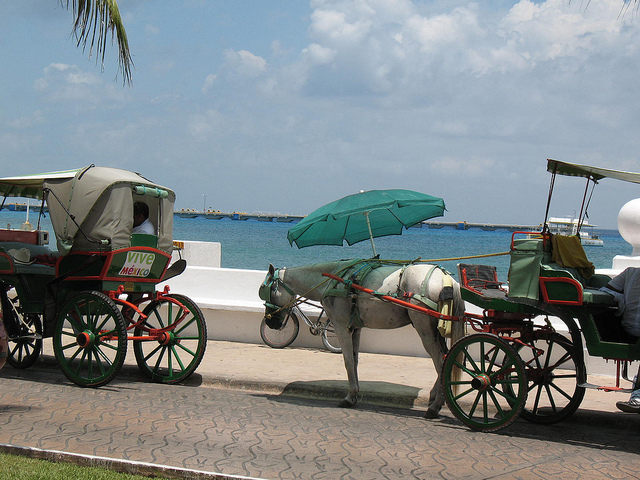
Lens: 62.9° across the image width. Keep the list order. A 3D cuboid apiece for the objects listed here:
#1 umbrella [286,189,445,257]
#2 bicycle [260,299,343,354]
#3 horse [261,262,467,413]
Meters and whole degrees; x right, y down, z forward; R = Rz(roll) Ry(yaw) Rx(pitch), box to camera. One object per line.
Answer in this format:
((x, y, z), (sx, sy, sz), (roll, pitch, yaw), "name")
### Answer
((0.760, -0.354, 8.264), (1.599, 0.853, 1.478), (-9, -7, 12), "umbrella")
((-0.509, 1.843, 10.868), (2.104, 1.063, 0.966), (7, -1, 12), "bicycle")
((0.920, 1.328, 7.762), (3.155, 2.125, 1.683), (5, 5, 37), "horse")
